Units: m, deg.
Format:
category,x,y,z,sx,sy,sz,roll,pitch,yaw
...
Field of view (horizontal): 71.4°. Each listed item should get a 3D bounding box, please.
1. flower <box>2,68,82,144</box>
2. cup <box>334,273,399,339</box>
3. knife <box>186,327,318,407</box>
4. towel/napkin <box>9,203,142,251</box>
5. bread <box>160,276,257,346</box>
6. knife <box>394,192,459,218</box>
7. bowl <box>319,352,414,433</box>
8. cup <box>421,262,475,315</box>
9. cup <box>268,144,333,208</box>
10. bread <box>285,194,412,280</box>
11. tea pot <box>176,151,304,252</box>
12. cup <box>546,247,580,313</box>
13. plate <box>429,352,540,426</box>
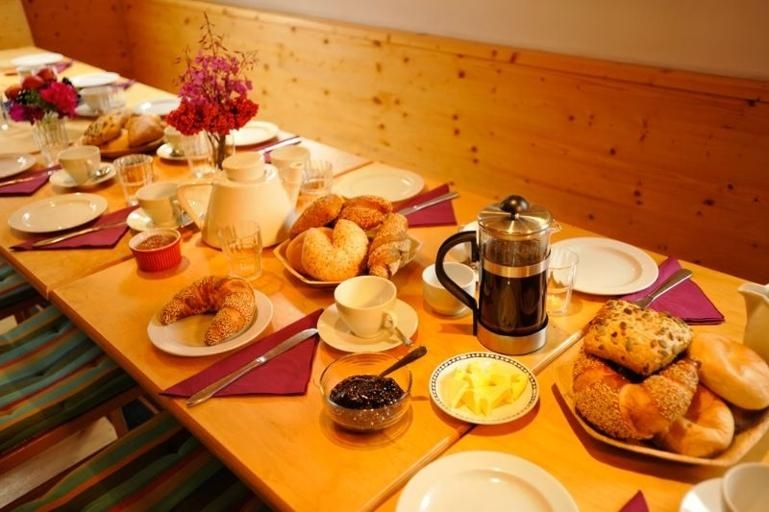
category,x,y,z,sx,sy,sz,roll,pitch,yaw
flower,-1.378,-0.632,2.262,0.301,0.328,0.285,-8,20,-25
cup,-0.046,0.113,1.342,0.141,0.110,0.155,-2,33,1
knife,-0.317,0.269,1.277,0.322,0.018,0.034,-29,52,-34
towel/napkin,-0.959,-0.102,1.698,0.139,0.019,0.256,32,39,33
bread,-0.442,0.119,1.385,0.190,0.065,0.190,20,36,26
knife,0.144,-0.173,1.812,0.238,0.013,0.033,-24,57,-30
bowl,-0.040,0.299,1.193,0.201,0.087,0.158,-5,37,-7
cup,0.169,0.085,1.388,0.123,0.091,0.140,1,32,2
cup,-0.292,-0.295,1.904,0.173,0.203,0.282,-21,38,-25
bread,-0.112,-0.046,1.503,0.265,0.084,0.271,-10,37,-4
tea pot,-0.440,-0.172,1.720,0.365,0.259,0.278,6,36,5
cup,0.464,0.065,1.401,0.102,0.152,0.093,-3,25,1
plate,0.222,0.291,1.203,0.240,0.045,0.168,3,37,3
